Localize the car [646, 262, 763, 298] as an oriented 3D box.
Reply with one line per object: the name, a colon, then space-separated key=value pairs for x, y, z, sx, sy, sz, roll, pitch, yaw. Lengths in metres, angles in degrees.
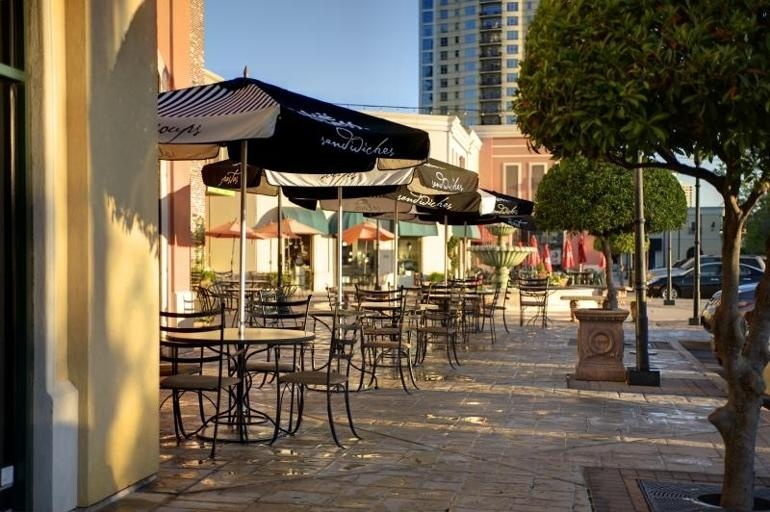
car: x=8.471 y=0.666 z=23.922 sx=2.620 sy=0.978 sz=1.233 roll=1 pitch=-1 yaw=18

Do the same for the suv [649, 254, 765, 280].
suv: x=9.999 y=0.364 z=27.881 sx=2.521 sy=0.963 sz=1.193 roll=1 pitch=0 yaw=13

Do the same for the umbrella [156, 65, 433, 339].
umbrella: x=-1.086 y=-0.627 z=9.935 sx=2.679 sy=2.664 sz=3.186 roll=-2 pitch=-2 yaw=-15
